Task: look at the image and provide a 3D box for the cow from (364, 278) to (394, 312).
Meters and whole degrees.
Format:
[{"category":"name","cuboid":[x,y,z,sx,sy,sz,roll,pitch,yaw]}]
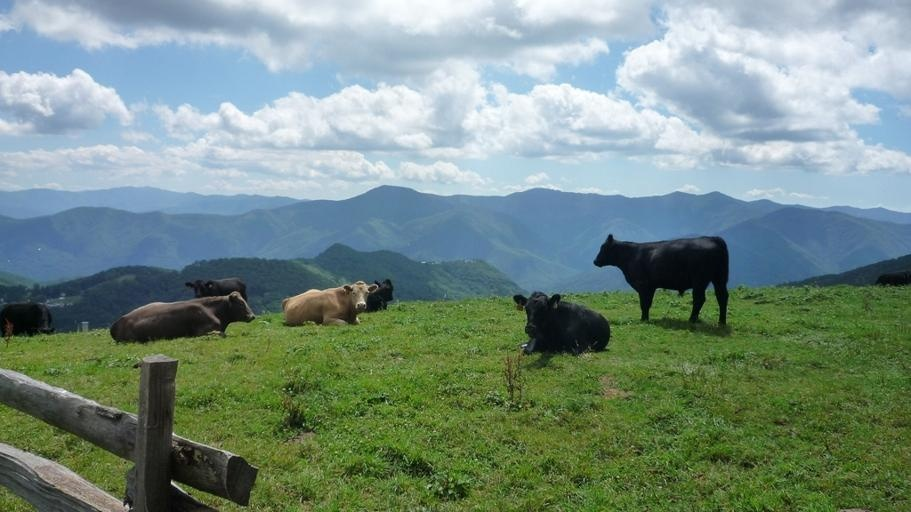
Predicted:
[{"category":"cow","cuboid":[-4.356,2.017,35.231,0.632,0.889,1.892,-24,-20,26]}]
